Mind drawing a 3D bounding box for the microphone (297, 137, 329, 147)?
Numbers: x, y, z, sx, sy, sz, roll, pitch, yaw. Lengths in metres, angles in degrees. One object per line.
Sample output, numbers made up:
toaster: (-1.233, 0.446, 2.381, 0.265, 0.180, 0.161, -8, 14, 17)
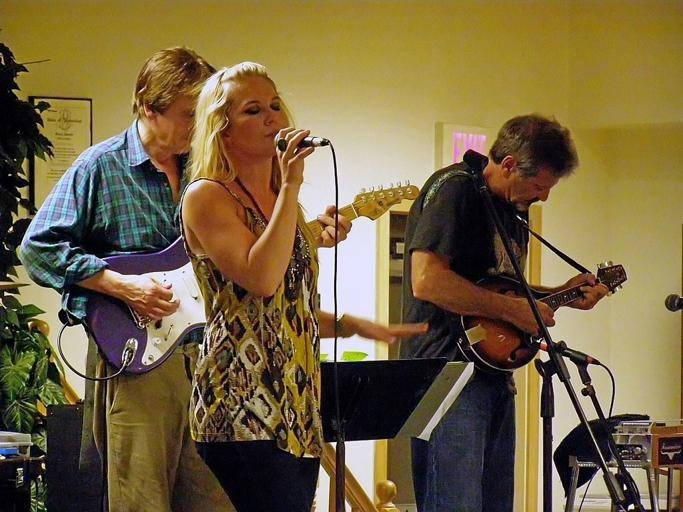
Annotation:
microphone: (-0.097, -0.360, 2.824, 0.034, 0.039, 0.132, 6, -4, -40)

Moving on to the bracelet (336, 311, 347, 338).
bracelet: (-0.006, 0.258, 3.227, 0.015, 0.075, 0.050, 1, -2, 19)
